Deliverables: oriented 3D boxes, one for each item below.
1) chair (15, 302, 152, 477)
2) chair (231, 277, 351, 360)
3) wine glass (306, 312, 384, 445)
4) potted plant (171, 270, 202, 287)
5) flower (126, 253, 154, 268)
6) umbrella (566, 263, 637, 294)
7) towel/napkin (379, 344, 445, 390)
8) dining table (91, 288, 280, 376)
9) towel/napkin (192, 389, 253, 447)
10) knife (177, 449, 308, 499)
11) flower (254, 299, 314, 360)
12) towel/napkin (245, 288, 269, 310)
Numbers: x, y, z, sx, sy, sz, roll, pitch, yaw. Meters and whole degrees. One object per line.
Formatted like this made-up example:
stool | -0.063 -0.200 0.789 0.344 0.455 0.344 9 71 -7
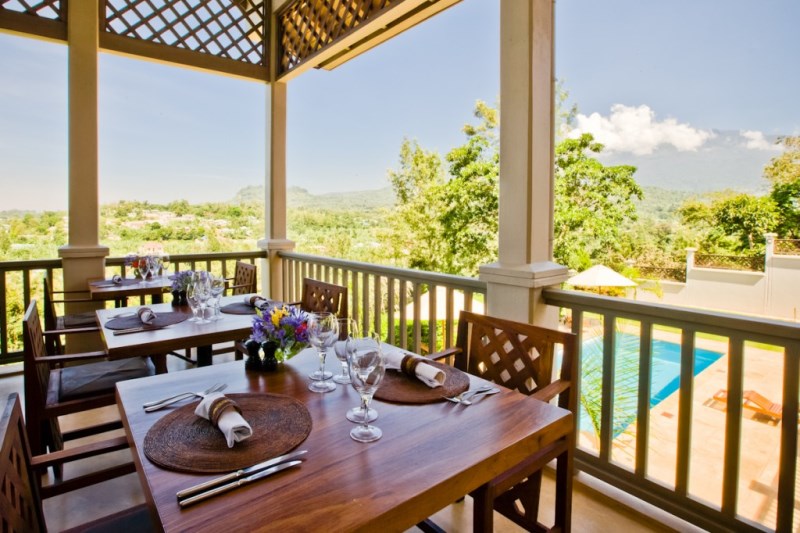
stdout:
chair | -2.077 0.779 3.776 0.849 1.389 0.803 -1 4 -24
chair | -0.760 0.475 4.128 0.498 0.662 0.433 13 19 41
wine glass | -0.243 0.590 2.682 0.250 0.465 0.235 -4 14 -24
potted plant | -1.654 0.086 4.181 0.203 0.102 0.206 1 6 6
flower | -2.438 -0.059 5.059 0.165 0.078 0.164 -1 1 -42
umbrella | 4.420 0.255 11.885 1.108 0.555 1.090 -5 2 -25
towel/napkin | 0.039 0.548 3.003 0.432 0.123 0.156 18 21 21
dining table | -1.571 0.442 3.712 0.681 0.428 0.672 -6 9 -38
towel/napkin | -0.875 0.754 2.722 0.153 0.155 0.416 5 6 -41
knife | -0.707 0.965 2.474 0.568 0.049 0.114 -13 8 -27
flower | -0.685 0.337 3.106 0.290 0.332 0.262 1 3 -25
towel/napkin | -1.069 0.247 4.036 0.144 0.054 0.145 12 14 32
